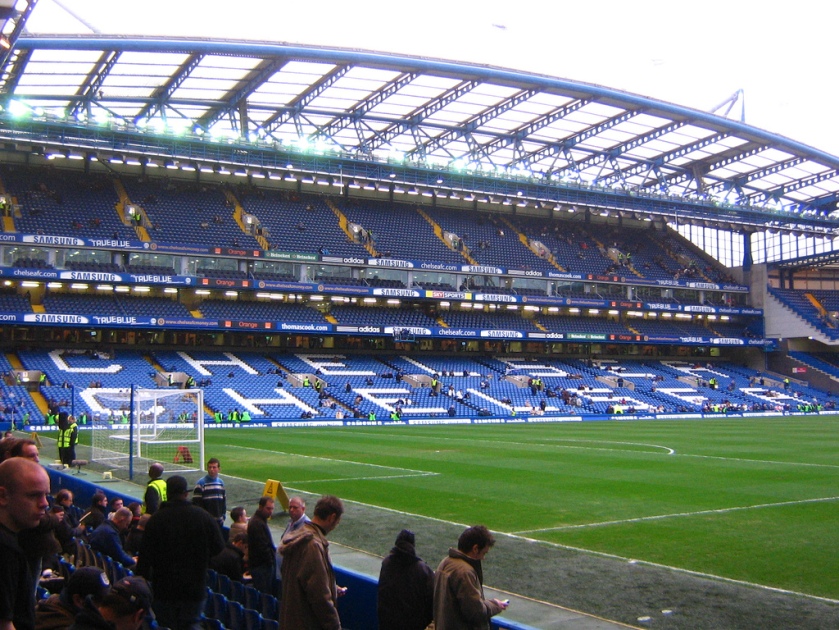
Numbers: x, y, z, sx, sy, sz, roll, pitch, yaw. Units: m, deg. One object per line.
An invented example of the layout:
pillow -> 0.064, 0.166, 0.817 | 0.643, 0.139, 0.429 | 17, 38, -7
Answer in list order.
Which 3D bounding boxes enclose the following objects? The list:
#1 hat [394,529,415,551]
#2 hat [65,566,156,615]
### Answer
hat -> -0.208, 3.511, 14.607 | 0.357, 0.277, 0.350 | 1, -9, 20
hat -> -4.227, 3.785, 12.797 | 1.132, 0.432, 0.665 | 10, 5, 15
